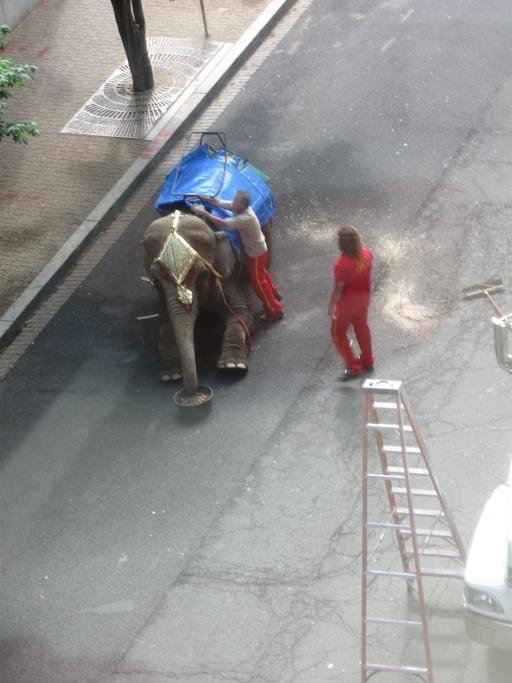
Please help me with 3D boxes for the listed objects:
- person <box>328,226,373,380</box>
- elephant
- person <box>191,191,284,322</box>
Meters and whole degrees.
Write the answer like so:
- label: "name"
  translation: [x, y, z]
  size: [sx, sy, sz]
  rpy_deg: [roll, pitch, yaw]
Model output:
- label: "person"
  translation: [0.946, -0.340, 7.741]
  size: [0.414, 1.706, 0.479]
  rpy_deg: [-3, 41, 8]
- label: "elephant"
  translation: [-0.581, -0.880, 8.666]
  size: [1.253, 1.694, 3.131]
  rpy_deg: [0, 42, 7]
- label: "person"
  translation: [-0.172, -0.967, 8.915]
  size: [0.905, 1.438, 0.600]
  rpy_deg: [-7, 28, 0]
